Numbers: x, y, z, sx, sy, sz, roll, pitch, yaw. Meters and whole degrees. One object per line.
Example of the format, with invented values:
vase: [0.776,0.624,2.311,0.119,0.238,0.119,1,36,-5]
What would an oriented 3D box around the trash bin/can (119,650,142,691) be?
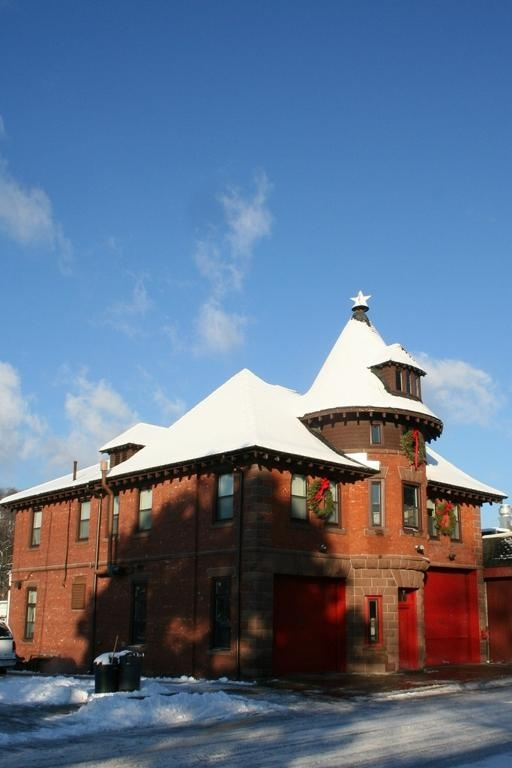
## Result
trash bin/can: [-2.697,6.126,14.749,0.447,0.763,0.403,3,-19,-11]

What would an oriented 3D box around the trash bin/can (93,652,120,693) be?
trash bin/can: [-3.079,6.135,14.715,0.712,0.887,0.669,-4,-24,6]
